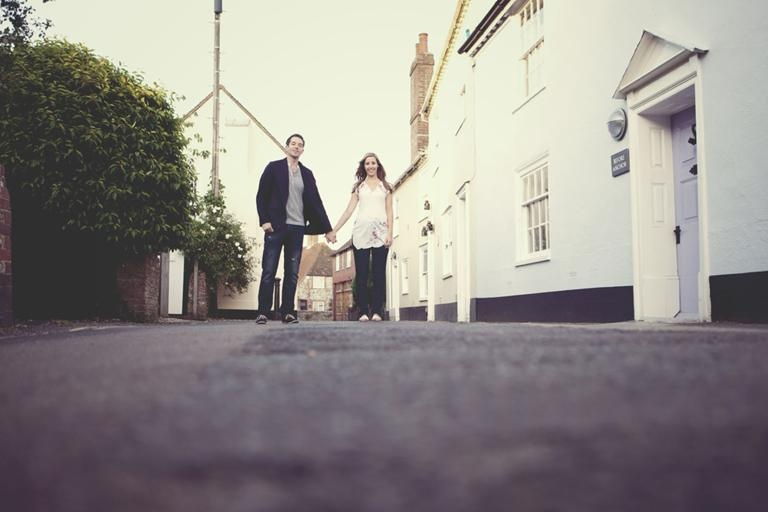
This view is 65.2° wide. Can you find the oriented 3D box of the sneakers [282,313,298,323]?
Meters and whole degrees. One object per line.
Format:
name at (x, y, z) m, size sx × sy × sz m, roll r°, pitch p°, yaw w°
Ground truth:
sneakers at (-0.988, 0.652, 6.327) m, size 0.201 × 0.093 × 0.075 m, roll -5°, pitch -11°, yaw 45°
